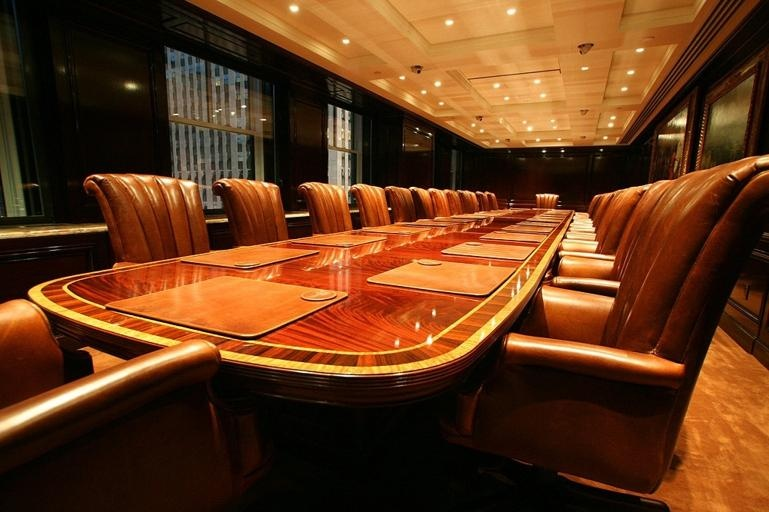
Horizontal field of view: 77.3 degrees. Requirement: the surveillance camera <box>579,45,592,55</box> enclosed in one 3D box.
[{"bbox_3d":[2.067,-2.123,4.918,0.069,0.063,0.073,-7,12,-11],"label":"surveillance camera"}]
